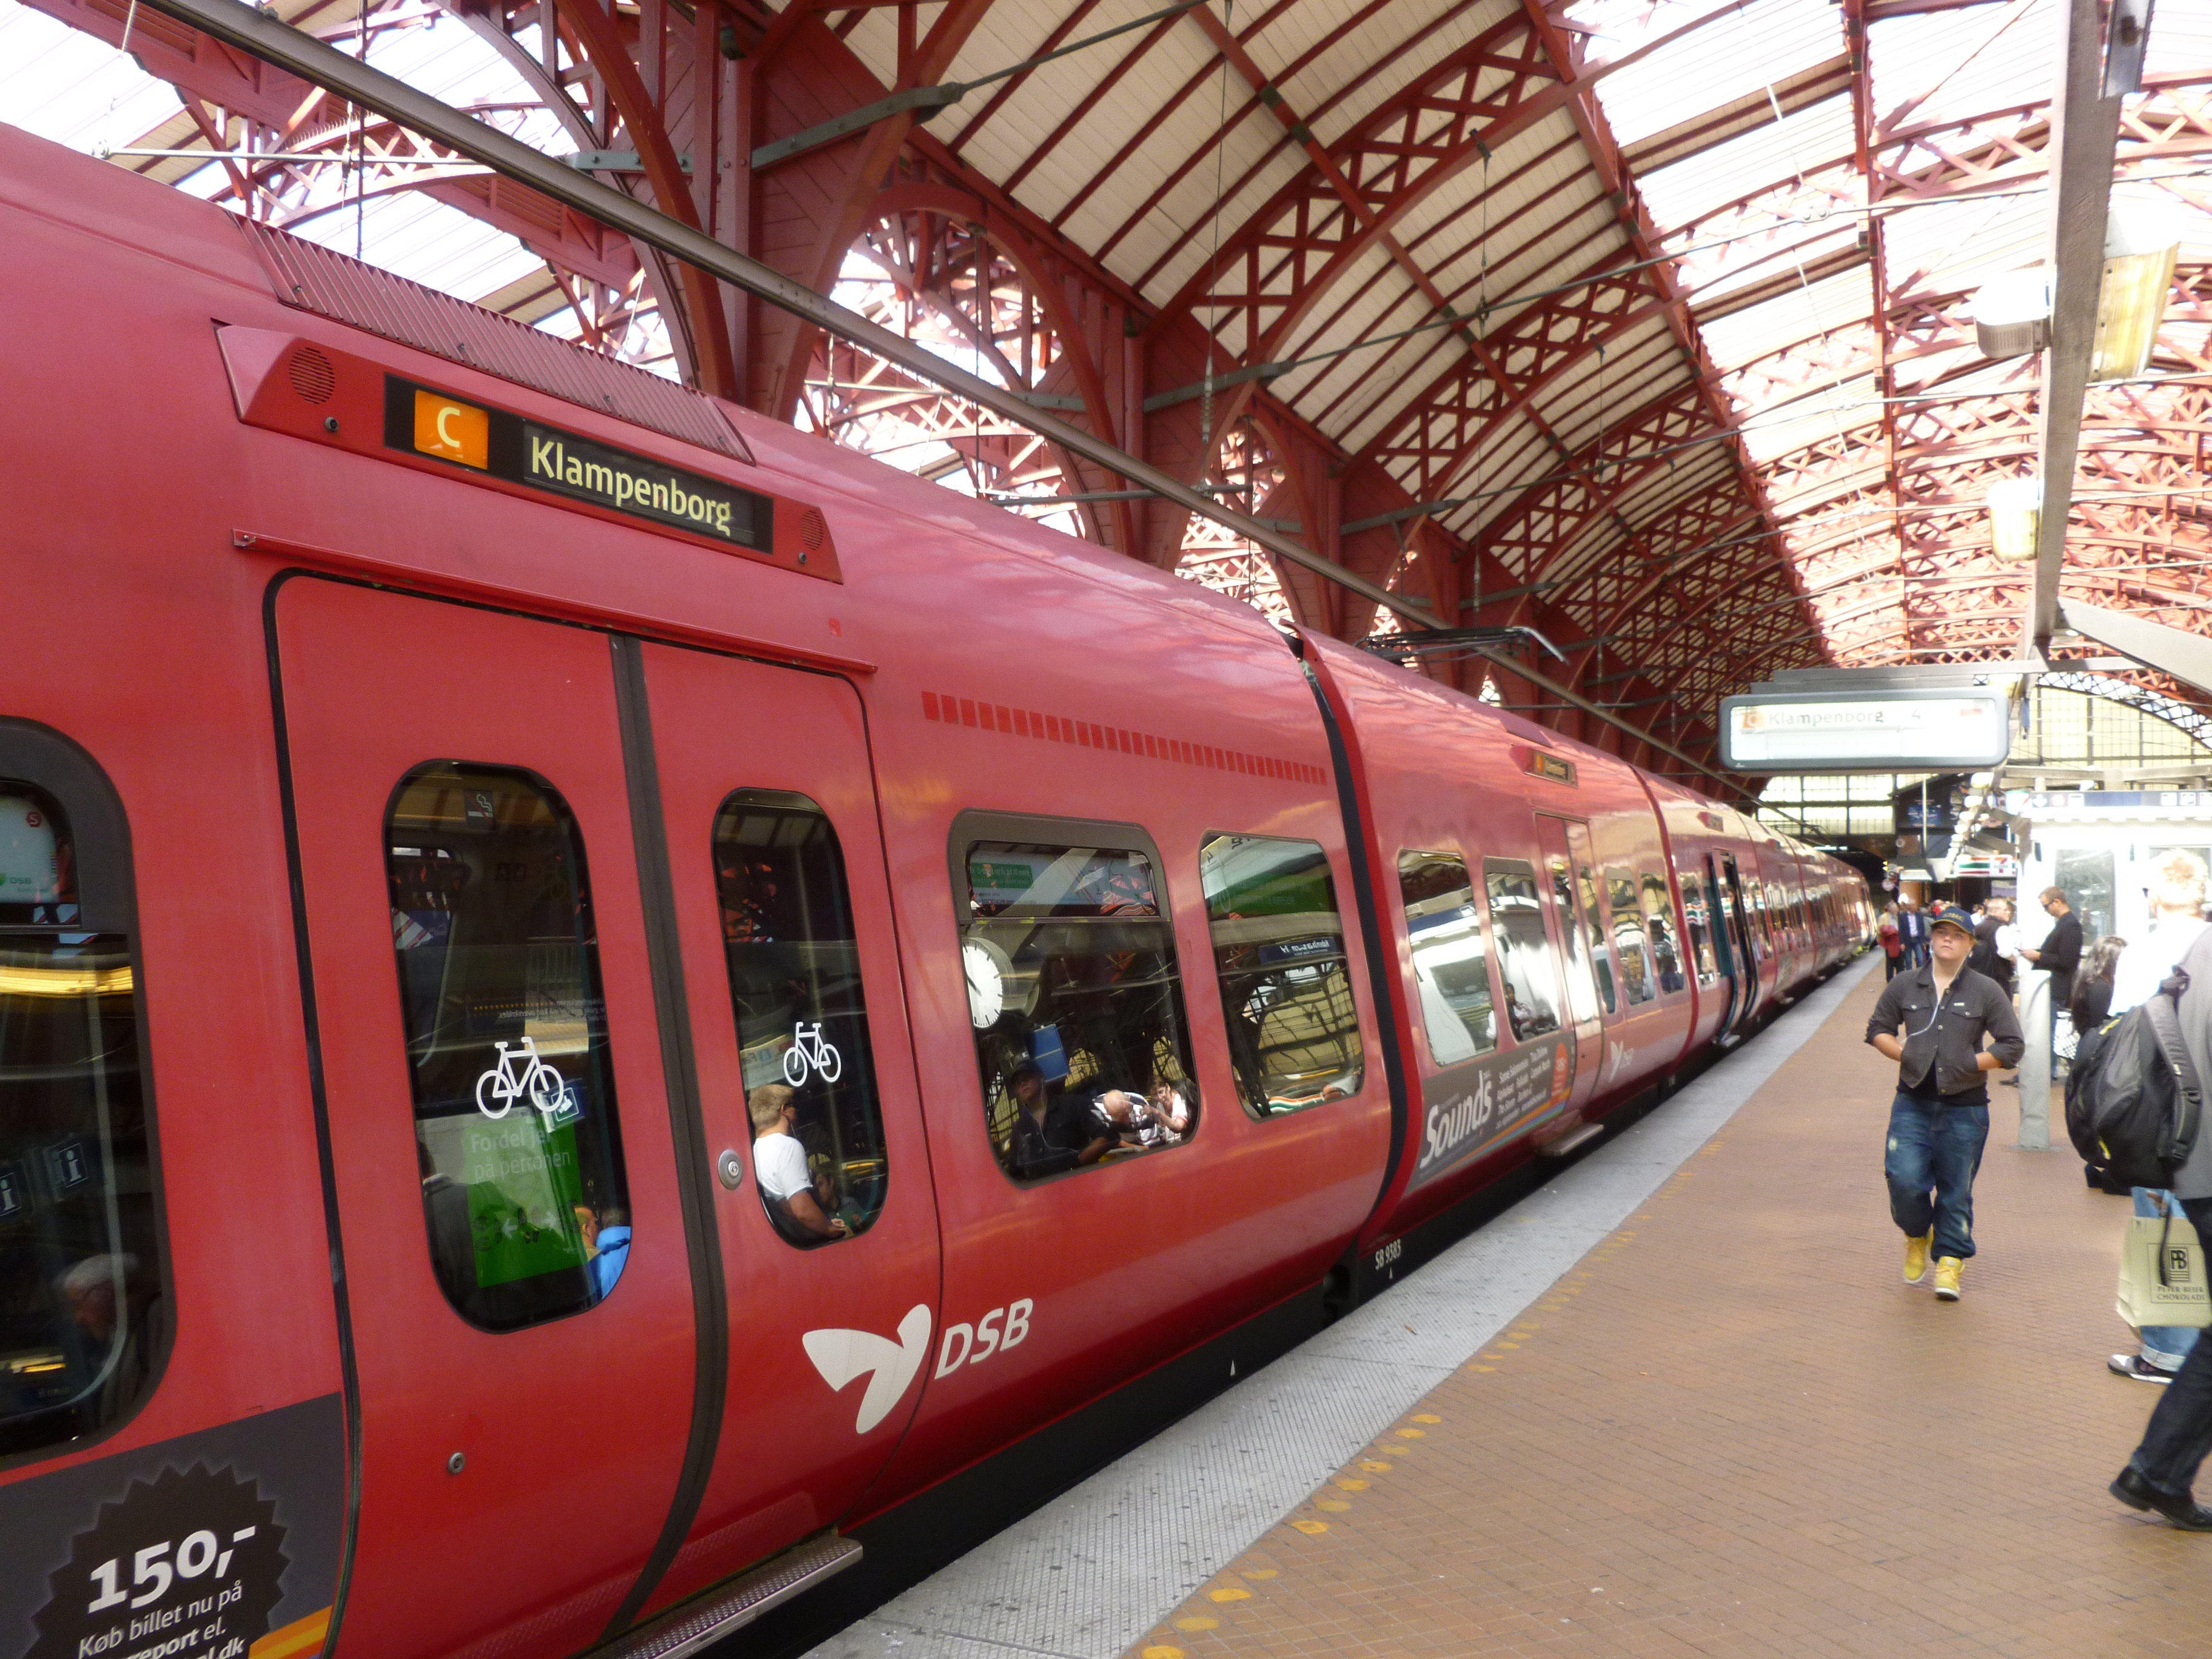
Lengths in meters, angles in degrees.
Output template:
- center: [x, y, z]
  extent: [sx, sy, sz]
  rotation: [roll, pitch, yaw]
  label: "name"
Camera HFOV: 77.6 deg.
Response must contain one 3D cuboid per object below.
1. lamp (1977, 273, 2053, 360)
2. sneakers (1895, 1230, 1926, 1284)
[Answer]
- center: [6.623, -3.831, 10.073]
  extent: [0.428, 0.445, 0.798]
  rotation: [0, -2, 39]
  label: "lamp"
- center: [4.102, 2.181, 6.974]
  extent: [0.125, 0.289, 0.102]
  rotation: [5, 21, 14]
  label: "sneakers"
